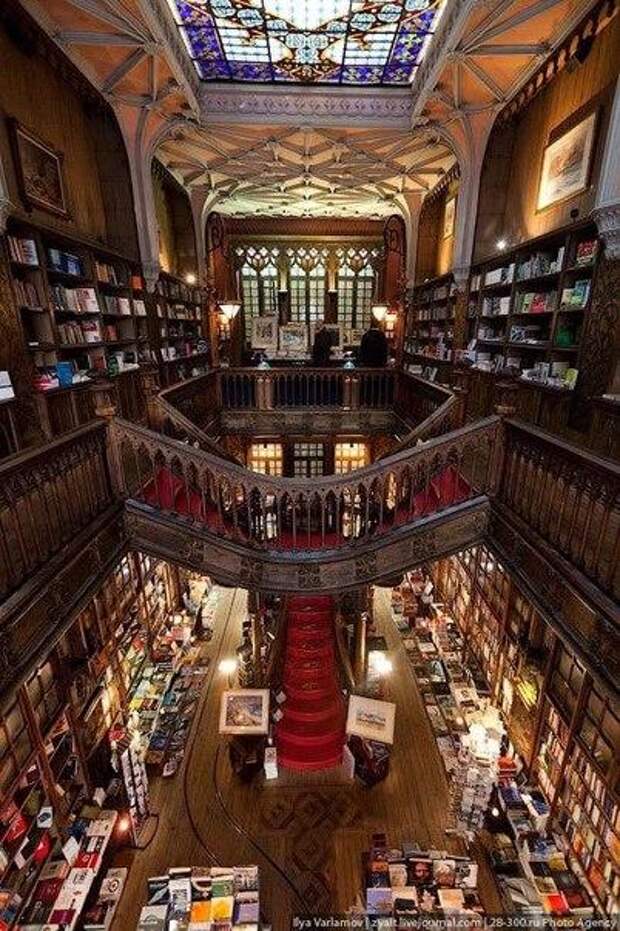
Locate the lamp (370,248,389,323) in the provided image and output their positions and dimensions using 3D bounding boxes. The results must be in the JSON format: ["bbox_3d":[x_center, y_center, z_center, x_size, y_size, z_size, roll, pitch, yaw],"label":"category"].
[{"bbox_3d":[1.626,-3.926,10.078,0.292,1.599,0.320,8,5,14],"label":"lamp"}]

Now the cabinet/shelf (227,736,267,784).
[{"bbox_3d":[-0.625,2.885,4.524,0.365,0.432,0.346,0,6,-11],"label":"cabinet/shelf"}]

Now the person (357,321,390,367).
[{"bbox_3d":[1.393,-2.630,10.112,0.541,0.931,0.784,1,6,3],"label":"person"}]

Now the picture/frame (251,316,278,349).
[{"bbox_3d":[-1.461,-4.243,14.402,0.856,1.233,0.091,1,15,2],"label":"picture/frame"}]
